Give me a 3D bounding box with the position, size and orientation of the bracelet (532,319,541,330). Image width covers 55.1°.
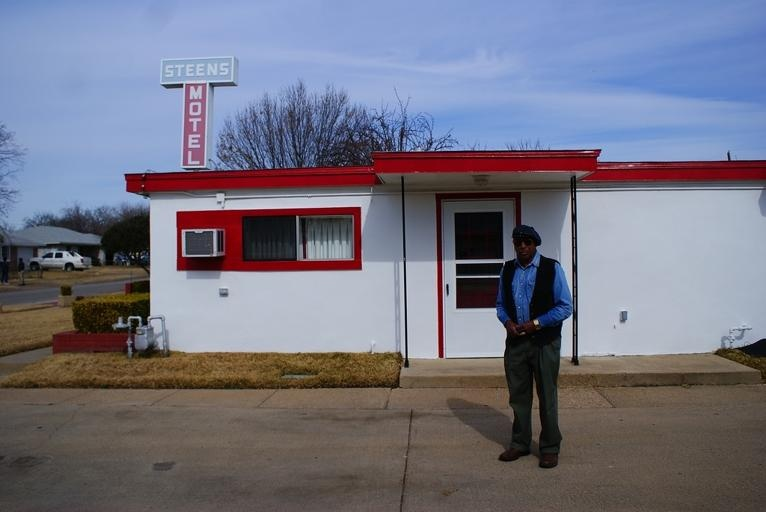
[{"bbox_3d":[2.213,0.987,10.573,0.090,0.145,0.126,0,-4,3],"label":"bracelet"}]

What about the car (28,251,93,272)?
[{"bbox_3d":[-22.884,0.366,52.393,3.614,1.305,2.312,0,4,10],"label":"car"}]
